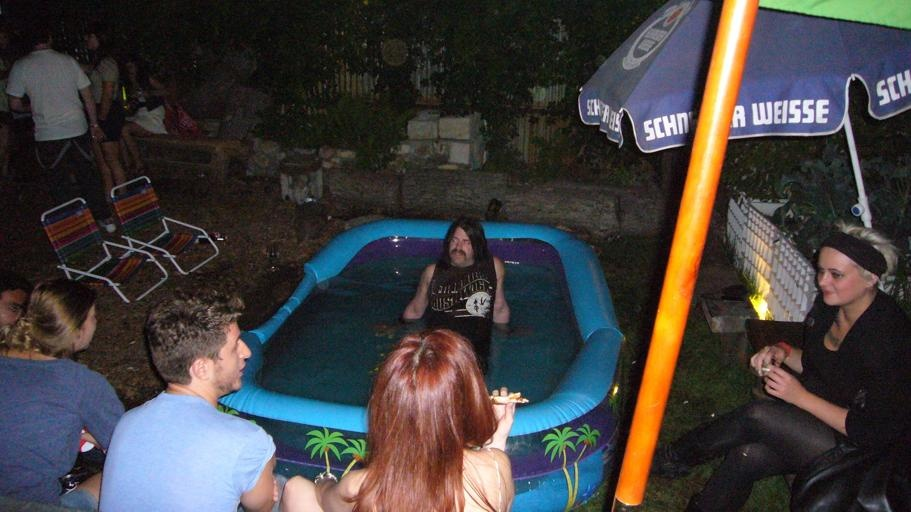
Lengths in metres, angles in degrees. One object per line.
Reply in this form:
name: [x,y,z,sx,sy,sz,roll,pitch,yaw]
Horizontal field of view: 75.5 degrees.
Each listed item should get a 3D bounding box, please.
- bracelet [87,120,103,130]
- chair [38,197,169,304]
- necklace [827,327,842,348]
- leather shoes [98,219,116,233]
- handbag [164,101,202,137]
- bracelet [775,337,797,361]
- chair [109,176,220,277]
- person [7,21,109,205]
bracelet: [-5.249,-1.903,8.559,0.173,0.079,0.214,1,-14,-5]
chair: [-4.186,-0.061,7.005,1.191,0.735,0.647,19,34,16]
necklace: [3.314,0.704,5.144,0.062,0.161,0.116,17,31,4]
leather shoes: [-5.119,-0.449,8.637,0.165,0.151,0.208,-8,20,-38]
handbag: [-5.135,-2.514,11.007,0.782,0.321,0.603,33,12,32]
bracelet: [3.080,0.854,5.454,0.076,0.104,0.130,44,13,-41]
chair: [-3.778,-0.406,7.659,1.218,0.736,0.689,23,35,15]
person: [-5.530,-1.919,8.206,1.130,2.400,0.821,18,26,22]
